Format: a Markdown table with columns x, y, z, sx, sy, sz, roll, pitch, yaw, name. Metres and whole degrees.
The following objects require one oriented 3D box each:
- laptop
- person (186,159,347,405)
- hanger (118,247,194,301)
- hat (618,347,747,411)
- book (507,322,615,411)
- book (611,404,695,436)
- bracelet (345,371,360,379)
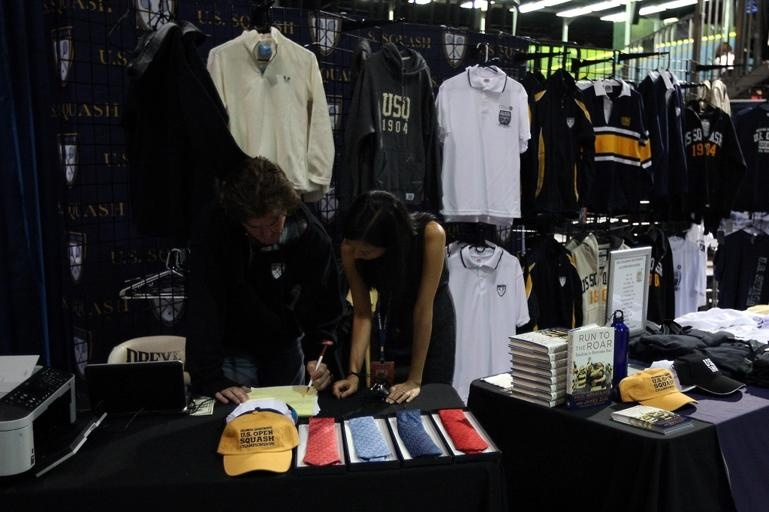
| x | y | z | sx | sy | sz | roll | pitch | yaw | name |
| --- | --- | --- | --- | --- | --- | --- | --- | --- | --- |
| -1.193 | 0.639 | 3.278 | 0.375 | 0.253 | 0.275 | 1 | 3 | -2 | laptop |
| -0.618 | 0.143 | 3.415 | 0.866 | 1.283 | 0.512 | -7 | 7 | -27 | person |
| -1.527 | 0.126 | 4.312 | 0.694 | 0.278 | 0.209 | 3 | 41 | -11 | hanger |
| 1.513 | 0.667 | 3.419 | 0.360 | 0.119 | 0.376 | -12 | 2 | -33 | hat |
| 0.904 | 0.522 | 3.348 | 0.499 | 0.239 | 0.373 | -6 | 6 | -31 | book |
| 1.298 | 0.794 | 3.187 | 0.346 | 0.064 | 0.204 | 1 | 8 | 37 | book |
| -0.165 | 0.626 | 3.436 | 0.039 | 0.023 | 0.048 | 5 | 0 | 12 | bracelet |
